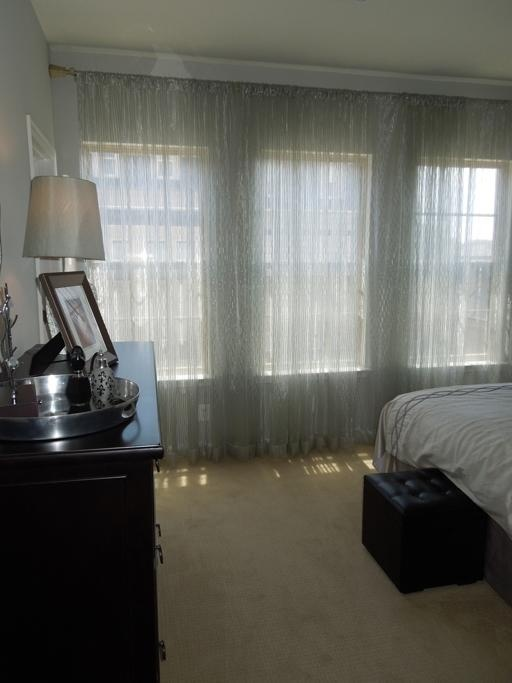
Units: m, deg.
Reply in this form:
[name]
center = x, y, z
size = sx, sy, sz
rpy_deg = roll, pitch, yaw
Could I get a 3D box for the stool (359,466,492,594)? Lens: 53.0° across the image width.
[stool]
center = 0.722, 0.791, 2.254
size = 0.406, 0.388, 0.449
rpy_deg = -2, 6, -12

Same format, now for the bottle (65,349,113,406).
[bottle]
center = -0.365, 0.080, 1.114
size = 0.069, 0.140, 0.052
rpy_deg = 1, 5, -20

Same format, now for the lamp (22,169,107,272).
[lamp]
center = -0.675, -0.399, 1.797
size = 0.215, 0.361, 0.245
rpy_deg = 8, 9, 34
